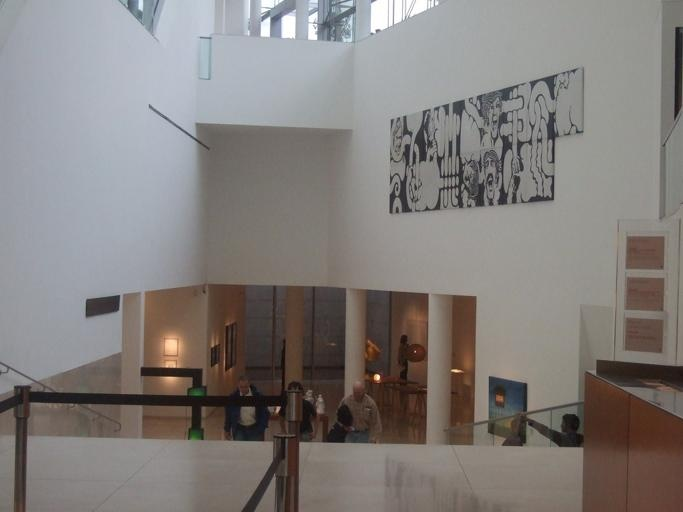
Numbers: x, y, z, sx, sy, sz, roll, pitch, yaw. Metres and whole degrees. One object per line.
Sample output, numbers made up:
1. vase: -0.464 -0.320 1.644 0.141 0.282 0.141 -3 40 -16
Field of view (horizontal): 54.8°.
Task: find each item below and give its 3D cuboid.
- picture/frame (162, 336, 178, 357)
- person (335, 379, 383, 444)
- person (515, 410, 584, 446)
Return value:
1. picture/frame: -4.197 2.226 16.168 0.377 0.567 0.034 1 -6 -6
2. person: 0.320 2.526 10.600 0.613 0.967 0.376 1 -3 -7
3. person: 3.110 2.575 9.584 0.640 0.677 0.967 4 -7 -27
